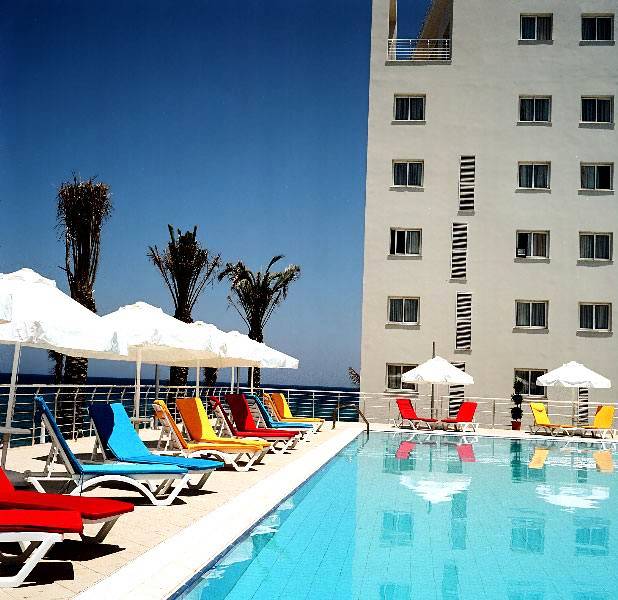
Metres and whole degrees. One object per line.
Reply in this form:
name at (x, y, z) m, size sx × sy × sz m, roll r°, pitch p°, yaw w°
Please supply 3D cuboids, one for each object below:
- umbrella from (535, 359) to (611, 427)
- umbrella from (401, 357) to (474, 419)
umbrella at (9.222, 3.298, 24.058) m, size 2.722 × 1.038 × 2.594 m, roll 1°, pitch -1°, yaw 21°
umbrella at (4.197, 3.030, 22.255) m, size 2.177 × 1.800 × 2.297 m, roll -1°, pitch 2°, yaw -41°
